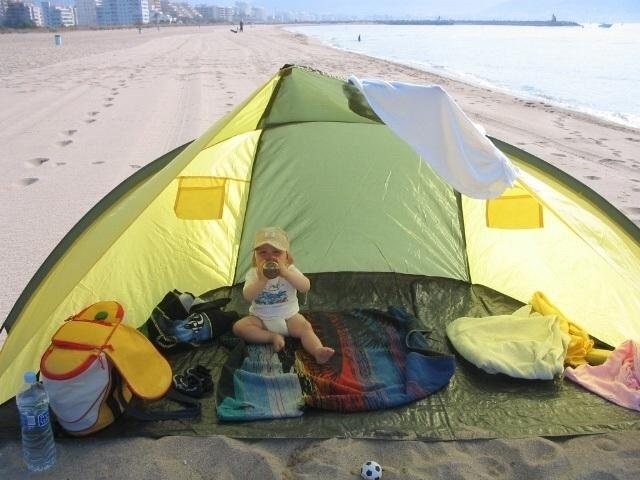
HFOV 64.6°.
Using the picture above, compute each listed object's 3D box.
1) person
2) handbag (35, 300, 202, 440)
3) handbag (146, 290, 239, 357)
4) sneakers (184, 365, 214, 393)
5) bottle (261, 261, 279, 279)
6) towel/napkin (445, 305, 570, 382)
[{"bbox_3d":[-0.342,0.378,3.649,0.542,0.726,0.768,-8,27,-23],"label":"person"},{"bbox_3d":[-1.220,0.851,3.075,0.932,0.387,0.679,27,55,12],"label":"handbag"},{"bbox_3d":[-0.953,0.611,3.796,0.549,0.213,0.418,-19,36,-33],"label":"handbag"},{"bbox_3d":[-0.794,0.924,3.388,0.187,0.079,0.120,32,26,27],"label":"sneakers"},{"bbox_3d":[-0.351,0.213,3.655,0.118,0.122,0.059,3,26,-2],"label":"bottle"},{"bbox_3d":[1.350,0.737,3.614,0.555,0.163,0.512,1,14,16],"label":"towel/napkin"}]
